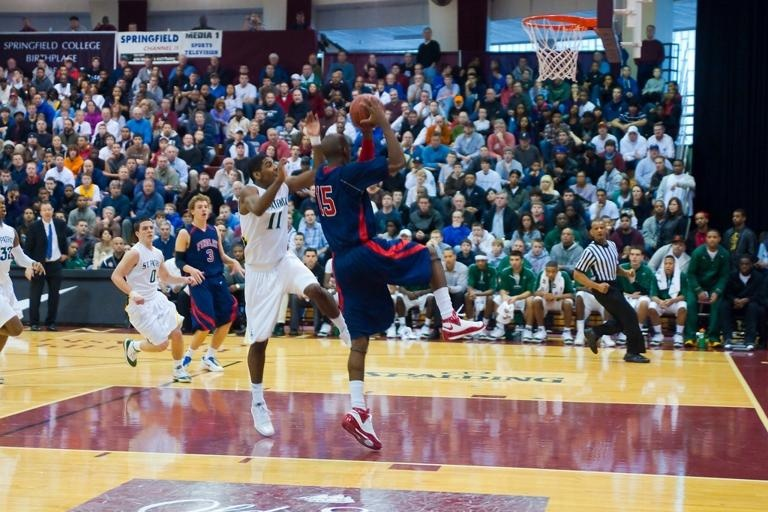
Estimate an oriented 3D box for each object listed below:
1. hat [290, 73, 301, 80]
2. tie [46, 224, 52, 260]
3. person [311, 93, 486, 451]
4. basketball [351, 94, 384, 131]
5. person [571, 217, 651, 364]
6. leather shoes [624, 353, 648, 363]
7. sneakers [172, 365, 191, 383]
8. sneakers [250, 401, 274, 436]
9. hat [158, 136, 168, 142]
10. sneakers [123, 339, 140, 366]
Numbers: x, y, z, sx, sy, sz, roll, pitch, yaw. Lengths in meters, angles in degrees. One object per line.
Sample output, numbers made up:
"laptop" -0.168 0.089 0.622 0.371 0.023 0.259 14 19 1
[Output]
"hat" -2.139 -4.347 20.528 0.238 0.260 0.317 1 10 3
"tie" -5.921 -0.242 15.030 0.104 0.600 0.170 -2 8 -15
"person" 0.189 0.119 9.059 1.524 3.786 1.137 -13 -11 9
"basketball" -0.197 -1.489 8.703 0.327 0.334 0.287 2 8 17
"person" 3.380 0.519 12.541 0.878 2.205 0.722 -5 11 40
"leather shoes" 3.694 1.504 12.381 0.347 0.152 0.134 -2 -4 16
"sneakers" -2.660 1.578 11.190 0.135 0.148 0.287 1 -3 -42
"sneakers" -1.279 1.753 9.116 0.161 0.189 0.453 -3 23 -28
"hat" -4.782 -2.541 18.398 0.167 0.091 0.289 -5 -7 -11
"sneakers" -3.467 1.339 11.655 0.174 0.421 0.135 0 15 22
